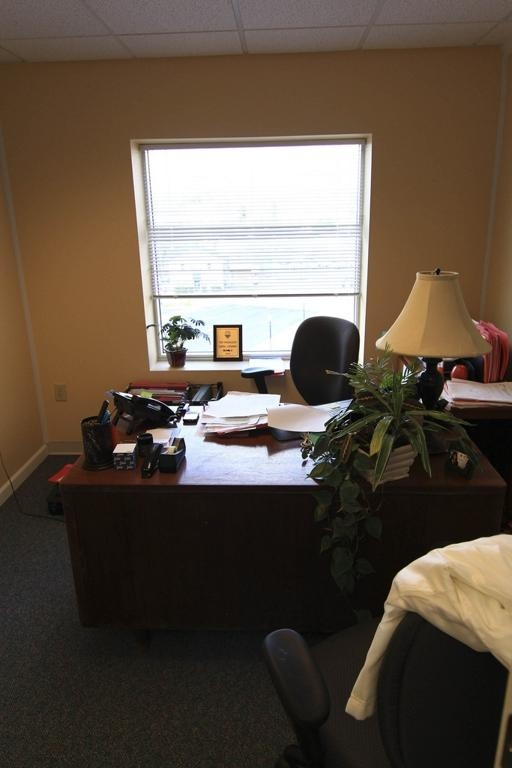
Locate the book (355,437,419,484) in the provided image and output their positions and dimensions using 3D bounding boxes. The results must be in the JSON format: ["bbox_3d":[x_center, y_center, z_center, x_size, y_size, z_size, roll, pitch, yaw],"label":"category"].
[{"bbox_3d":[0.382,0.224,1.597,0.127,0.081,0.130,-3,11,-2],"label":"book"}]

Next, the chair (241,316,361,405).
[{"bbox_3d":[0.232,-0.138,2.664,0.375,0.593,0.371,12,19,42],"label":"chair"}]

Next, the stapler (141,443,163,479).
[{"bbox_3d":[-0.312,0.232,1.736,0.032,0.031,0.118,-9,28,11],"label":"stapler"}]

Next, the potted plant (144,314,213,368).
[{"bbox_3d":[-0.469,-0.274,3.481,0.356,0.311,0.296,-3,18,-3],"label":"potted plant"}]

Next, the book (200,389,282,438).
[{"bbox_3d":[-0.071,0.110,2.063,0.181,0.056,0.187,0,32,25],"label":"book"}]

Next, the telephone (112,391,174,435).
[{"bbox_3d":[-0.424,0.099,2.113,0.156,0.111,0.187,-9,12,-29],"label":"telephone"}]

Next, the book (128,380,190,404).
[{"bbox_3d":[-0.541,0.035,3.245,0.221,0.081,0.191,6,11,2],"label":"book"}]

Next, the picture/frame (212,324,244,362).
[{"bbox_3d":[-0.171,-0.255,3.543,0.219,0.289,0.030,1,3,-1],"label":"picture/frame"}]

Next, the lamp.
[{"bbox_3d":[0.515,-0.098,1.625,0.360,0.530,0.375,6,14,35],"label":"lamp"}]

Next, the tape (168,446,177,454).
[{"bbox_3d":[-0.258,0.202,1.766,0.020,0.021,0.036,-1,-1,-4],"label":"tape"}]
